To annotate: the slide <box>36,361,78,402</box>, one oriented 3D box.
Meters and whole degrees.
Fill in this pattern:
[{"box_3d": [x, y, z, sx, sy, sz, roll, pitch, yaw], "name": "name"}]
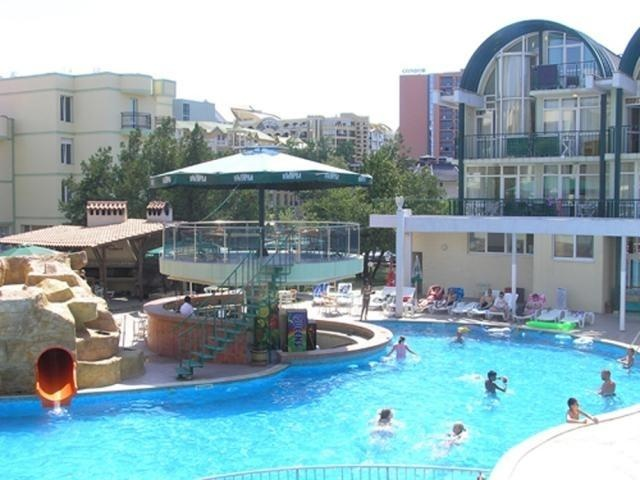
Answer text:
[{"box_3d": [-8.219, 4.472, 25.806, 1.163, 1.059, 2.082, -1, 3, -18], "name": "slide"}]
